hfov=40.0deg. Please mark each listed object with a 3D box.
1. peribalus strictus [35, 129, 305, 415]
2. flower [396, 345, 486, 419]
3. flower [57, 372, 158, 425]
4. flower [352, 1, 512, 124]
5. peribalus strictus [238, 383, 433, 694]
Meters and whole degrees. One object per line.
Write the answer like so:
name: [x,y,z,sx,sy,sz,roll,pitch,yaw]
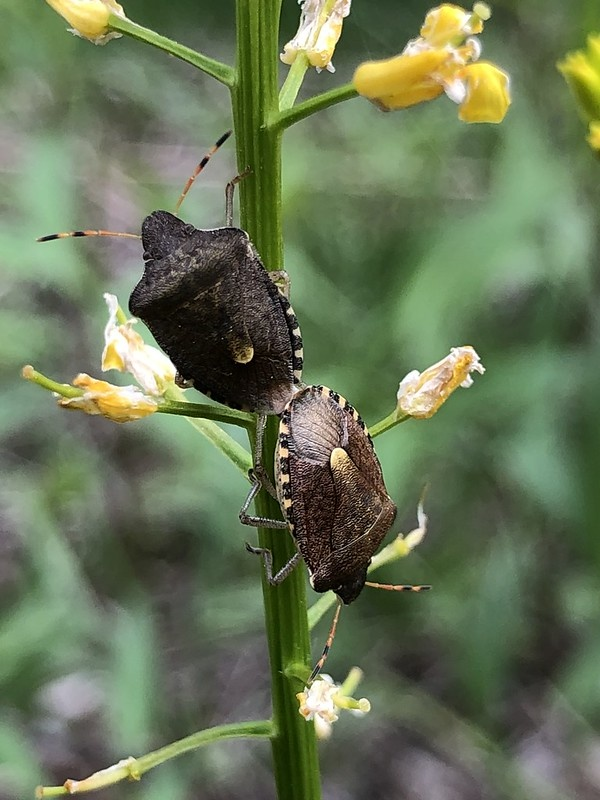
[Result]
peribalus strictus: [-0.215,-0.208,1.339,0.371,0.418,0.131,-36,74,-12]
flower: [0.236,-0.033,1.448,0.169,0.093,0.081,-36,30,-13]
flower: [-0.282,-0.002,1.206,0.132,0.073,0.041,3,83,-14]
flower: [0.195,-0.472,1.150,0.214,0.149,0.142,13,56,-2]
peribalus strictus: [0.060,0.207,1.360,0.411,0.418,0.144,-16,20,-43]
